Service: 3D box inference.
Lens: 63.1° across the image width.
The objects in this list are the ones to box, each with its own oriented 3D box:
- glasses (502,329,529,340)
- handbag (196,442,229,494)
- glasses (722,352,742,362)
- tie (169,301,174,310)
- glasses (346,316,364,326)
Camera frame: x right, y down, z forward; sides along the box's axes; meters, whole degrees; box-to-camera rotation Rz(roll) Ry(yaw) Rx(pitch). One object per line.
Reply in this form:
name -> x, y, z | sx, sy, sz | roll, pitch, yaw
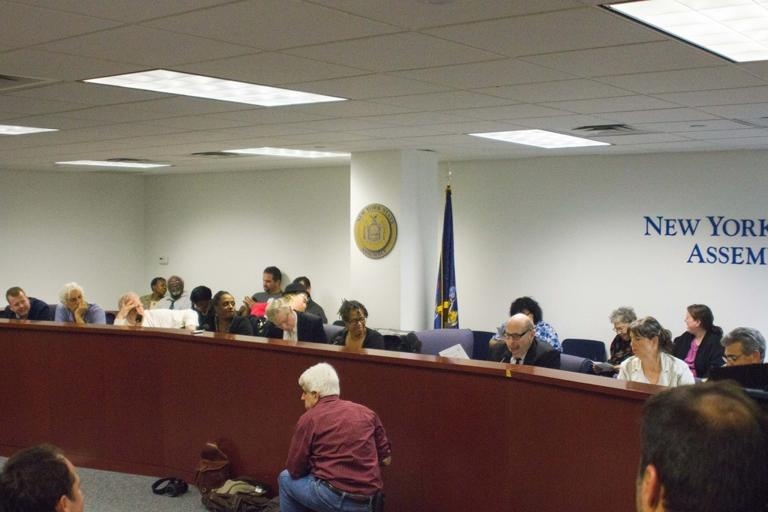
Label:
glasses -> 1.206, 0.713, 5.707 | 0.143, 0.048, 0.151 | -3, -4, 39
handbag -> -1.597, 1.997, 5.855 | 0.374, 0.453, 0.258 | -11, -16, 40
glasses -> 2.809, 0.822, 5.080 | 0.066, 0.074, 0.229 | 0, -2, 12
tie -> -3.265, 0.757, 9.600 | 0.079, 0.098, 0.111 | 1, -17, 0
glasses -> -0.296, 0.680, 6.530 | 0.160, 0.088, 0.085 | 1, -2, -18
